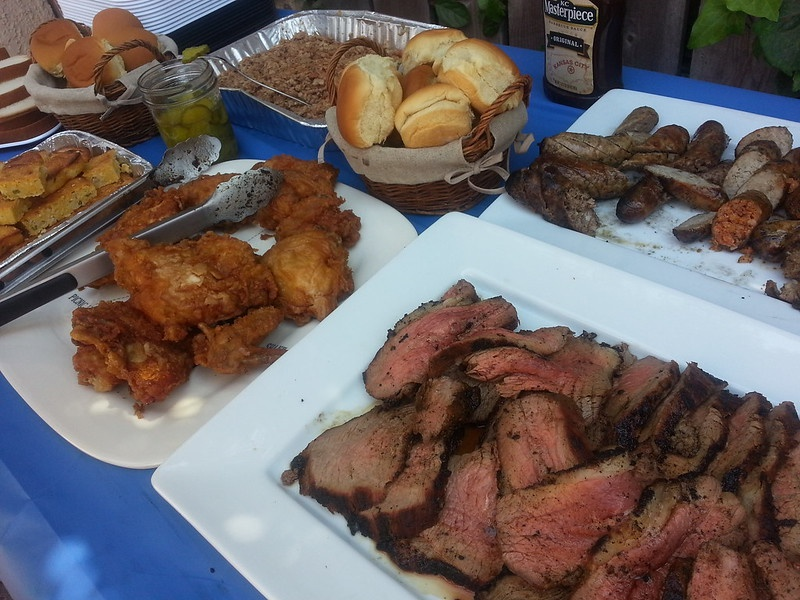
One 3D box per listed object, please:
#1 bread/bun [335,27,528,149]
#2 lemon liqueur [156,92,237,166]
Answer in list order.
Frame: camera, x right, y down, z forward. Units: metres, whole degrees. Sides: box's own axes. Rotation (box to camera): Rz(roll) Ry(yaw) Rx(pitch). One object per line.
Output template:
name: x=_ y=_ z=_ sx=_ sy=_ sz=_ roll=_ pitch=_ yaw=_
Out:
bread/bun: x=0.021 y=-0.709 z=2.241 sx=0.724 sy=0.388 sz=0.570 roll=-17 pitch=27 yaw=-29
lemon liqueur: x=-0.737 y=-0.679 z=2.559 sx=0.271 sy=0.303 sz=0.272 roll=1 pitch=50 yaw=7
